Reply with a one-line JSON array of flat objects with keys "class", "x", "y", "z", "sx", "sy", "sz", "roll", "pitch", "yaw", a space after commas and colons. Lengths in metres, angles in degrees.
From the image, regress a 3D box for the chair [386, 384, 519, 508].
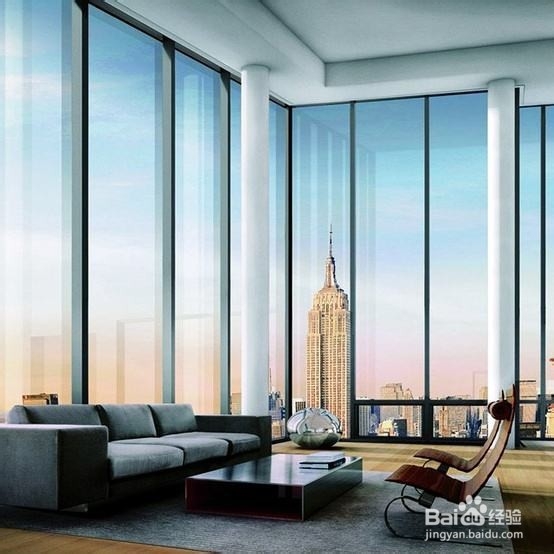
[{"class": "chair", "x": 1.616, "y": 1.499, "z": 6.506, "sx": 0.666, "sy": 0.621, "sz": 1.357, "roll": -3, "pitch": -9, "yaw": 23}]
